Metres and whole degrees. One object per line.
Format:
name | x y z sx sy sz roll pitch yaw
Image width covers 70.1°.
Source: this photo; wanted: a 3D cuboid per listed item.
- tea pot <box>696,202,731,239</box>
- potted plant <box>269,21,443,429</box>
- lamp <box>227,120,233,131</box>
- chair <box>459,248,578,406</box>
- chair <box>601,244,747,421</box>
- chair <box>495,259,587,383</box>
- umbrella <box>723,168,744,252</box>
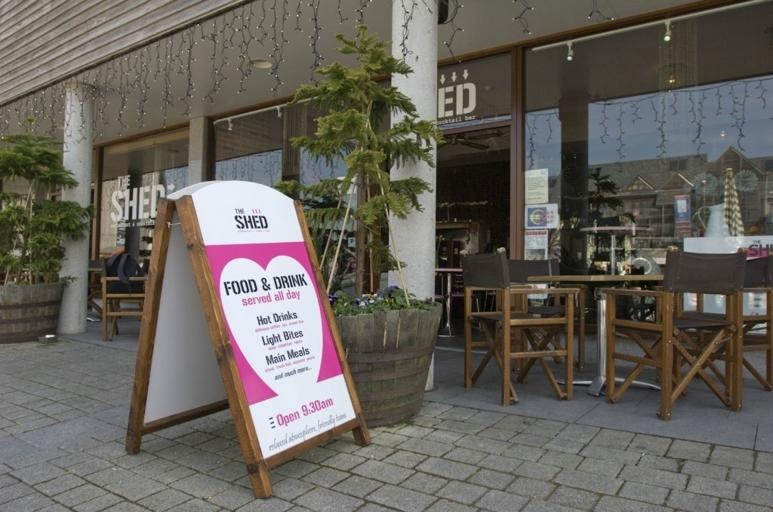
tea pot | 3.843 -0.431 6.529 0.303 0.403 0.370 -9 16 -30
potted plant | -0.197 -0.507 5.621 1.289 3.548 2.767 -2 11 -7
lamp | -3.011 -2.547 10.665 0.125 0.204 0.033 7 13 35
chair | 1.331 0.674 5.570 0.984 1.401 1.044 3 -2 -26
chair | 2.641 0.691 5.212 1.110 1.430 0.983 2 -3 -12
chair | 1.780 0.675 6.089 0.868 1.200 0.878 -12 -5 4
umbrella | 3.973 -0.616 6.343 0.152 0.807 0.287 -3 11 -7
